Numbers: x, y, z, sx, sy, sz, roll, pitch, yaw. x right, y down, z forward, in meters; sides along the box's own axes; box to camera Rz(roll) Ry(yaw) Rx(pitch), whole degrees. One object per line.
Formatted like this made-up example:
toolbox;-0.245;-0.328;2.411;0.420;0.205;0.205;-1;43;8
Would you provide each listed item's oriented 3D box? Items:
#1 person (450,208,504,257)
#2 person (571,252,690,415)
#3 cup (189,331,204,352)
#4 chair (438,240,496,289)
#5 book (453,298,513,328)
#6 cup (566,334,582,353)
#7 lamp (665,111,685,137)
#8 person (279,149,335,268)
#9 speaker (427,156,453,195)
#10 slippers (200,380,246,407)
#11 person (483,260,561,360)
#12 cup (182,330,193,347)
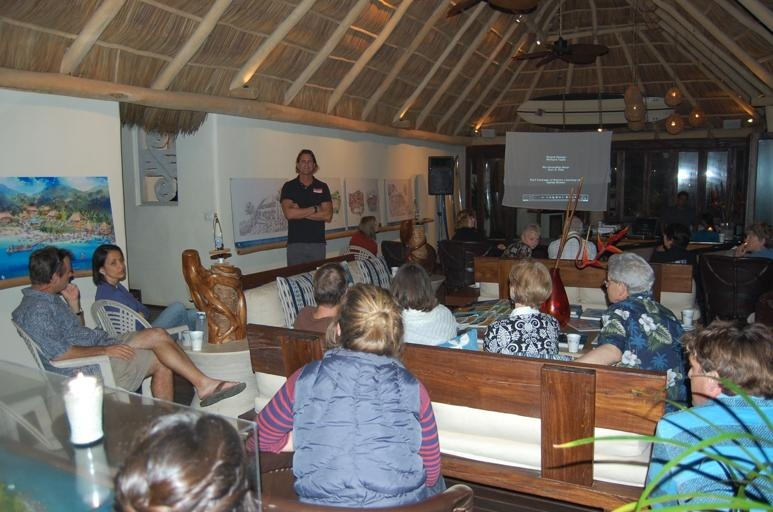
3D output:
person;1.368;-0.325;8.665;0.792;0.860;0.848;5;16;37
person;1.667;0.517;3.467;0.510;1.067;0.589;-32;15;-36
cup;-1.496;0.669;4.333;0.128;0.146;0.131;-2;1;0
chair;1.165;0.070;8.438;0.679;0.786;0.777;8;25;27
book;0.784;0.457;4.406;0.292;0.073;0.271;6;15;26
cup;1.288;0.589;3.791;0.112;0.126;0.113;-1;5;0
lamp;5.160;-2.393;9.846;0.226;0.367;0.667;4;9;32
person;-0.940;-0.571;6.500;0.589;1.345;0.401;-2;7;-8
speaker;1.173;-1.713;11.750;0.443;0.812;0.716;1;8;14
slippers;-1.206;1.013;4.153;0.393;0.123;0.144;-27;-12;-8
person;0.917;0.356;3.651;0.572;0.802;0.432;0;10;0
cup;-1.592;0.665;4.452;0.114;0.113;0.101;0;1;23
